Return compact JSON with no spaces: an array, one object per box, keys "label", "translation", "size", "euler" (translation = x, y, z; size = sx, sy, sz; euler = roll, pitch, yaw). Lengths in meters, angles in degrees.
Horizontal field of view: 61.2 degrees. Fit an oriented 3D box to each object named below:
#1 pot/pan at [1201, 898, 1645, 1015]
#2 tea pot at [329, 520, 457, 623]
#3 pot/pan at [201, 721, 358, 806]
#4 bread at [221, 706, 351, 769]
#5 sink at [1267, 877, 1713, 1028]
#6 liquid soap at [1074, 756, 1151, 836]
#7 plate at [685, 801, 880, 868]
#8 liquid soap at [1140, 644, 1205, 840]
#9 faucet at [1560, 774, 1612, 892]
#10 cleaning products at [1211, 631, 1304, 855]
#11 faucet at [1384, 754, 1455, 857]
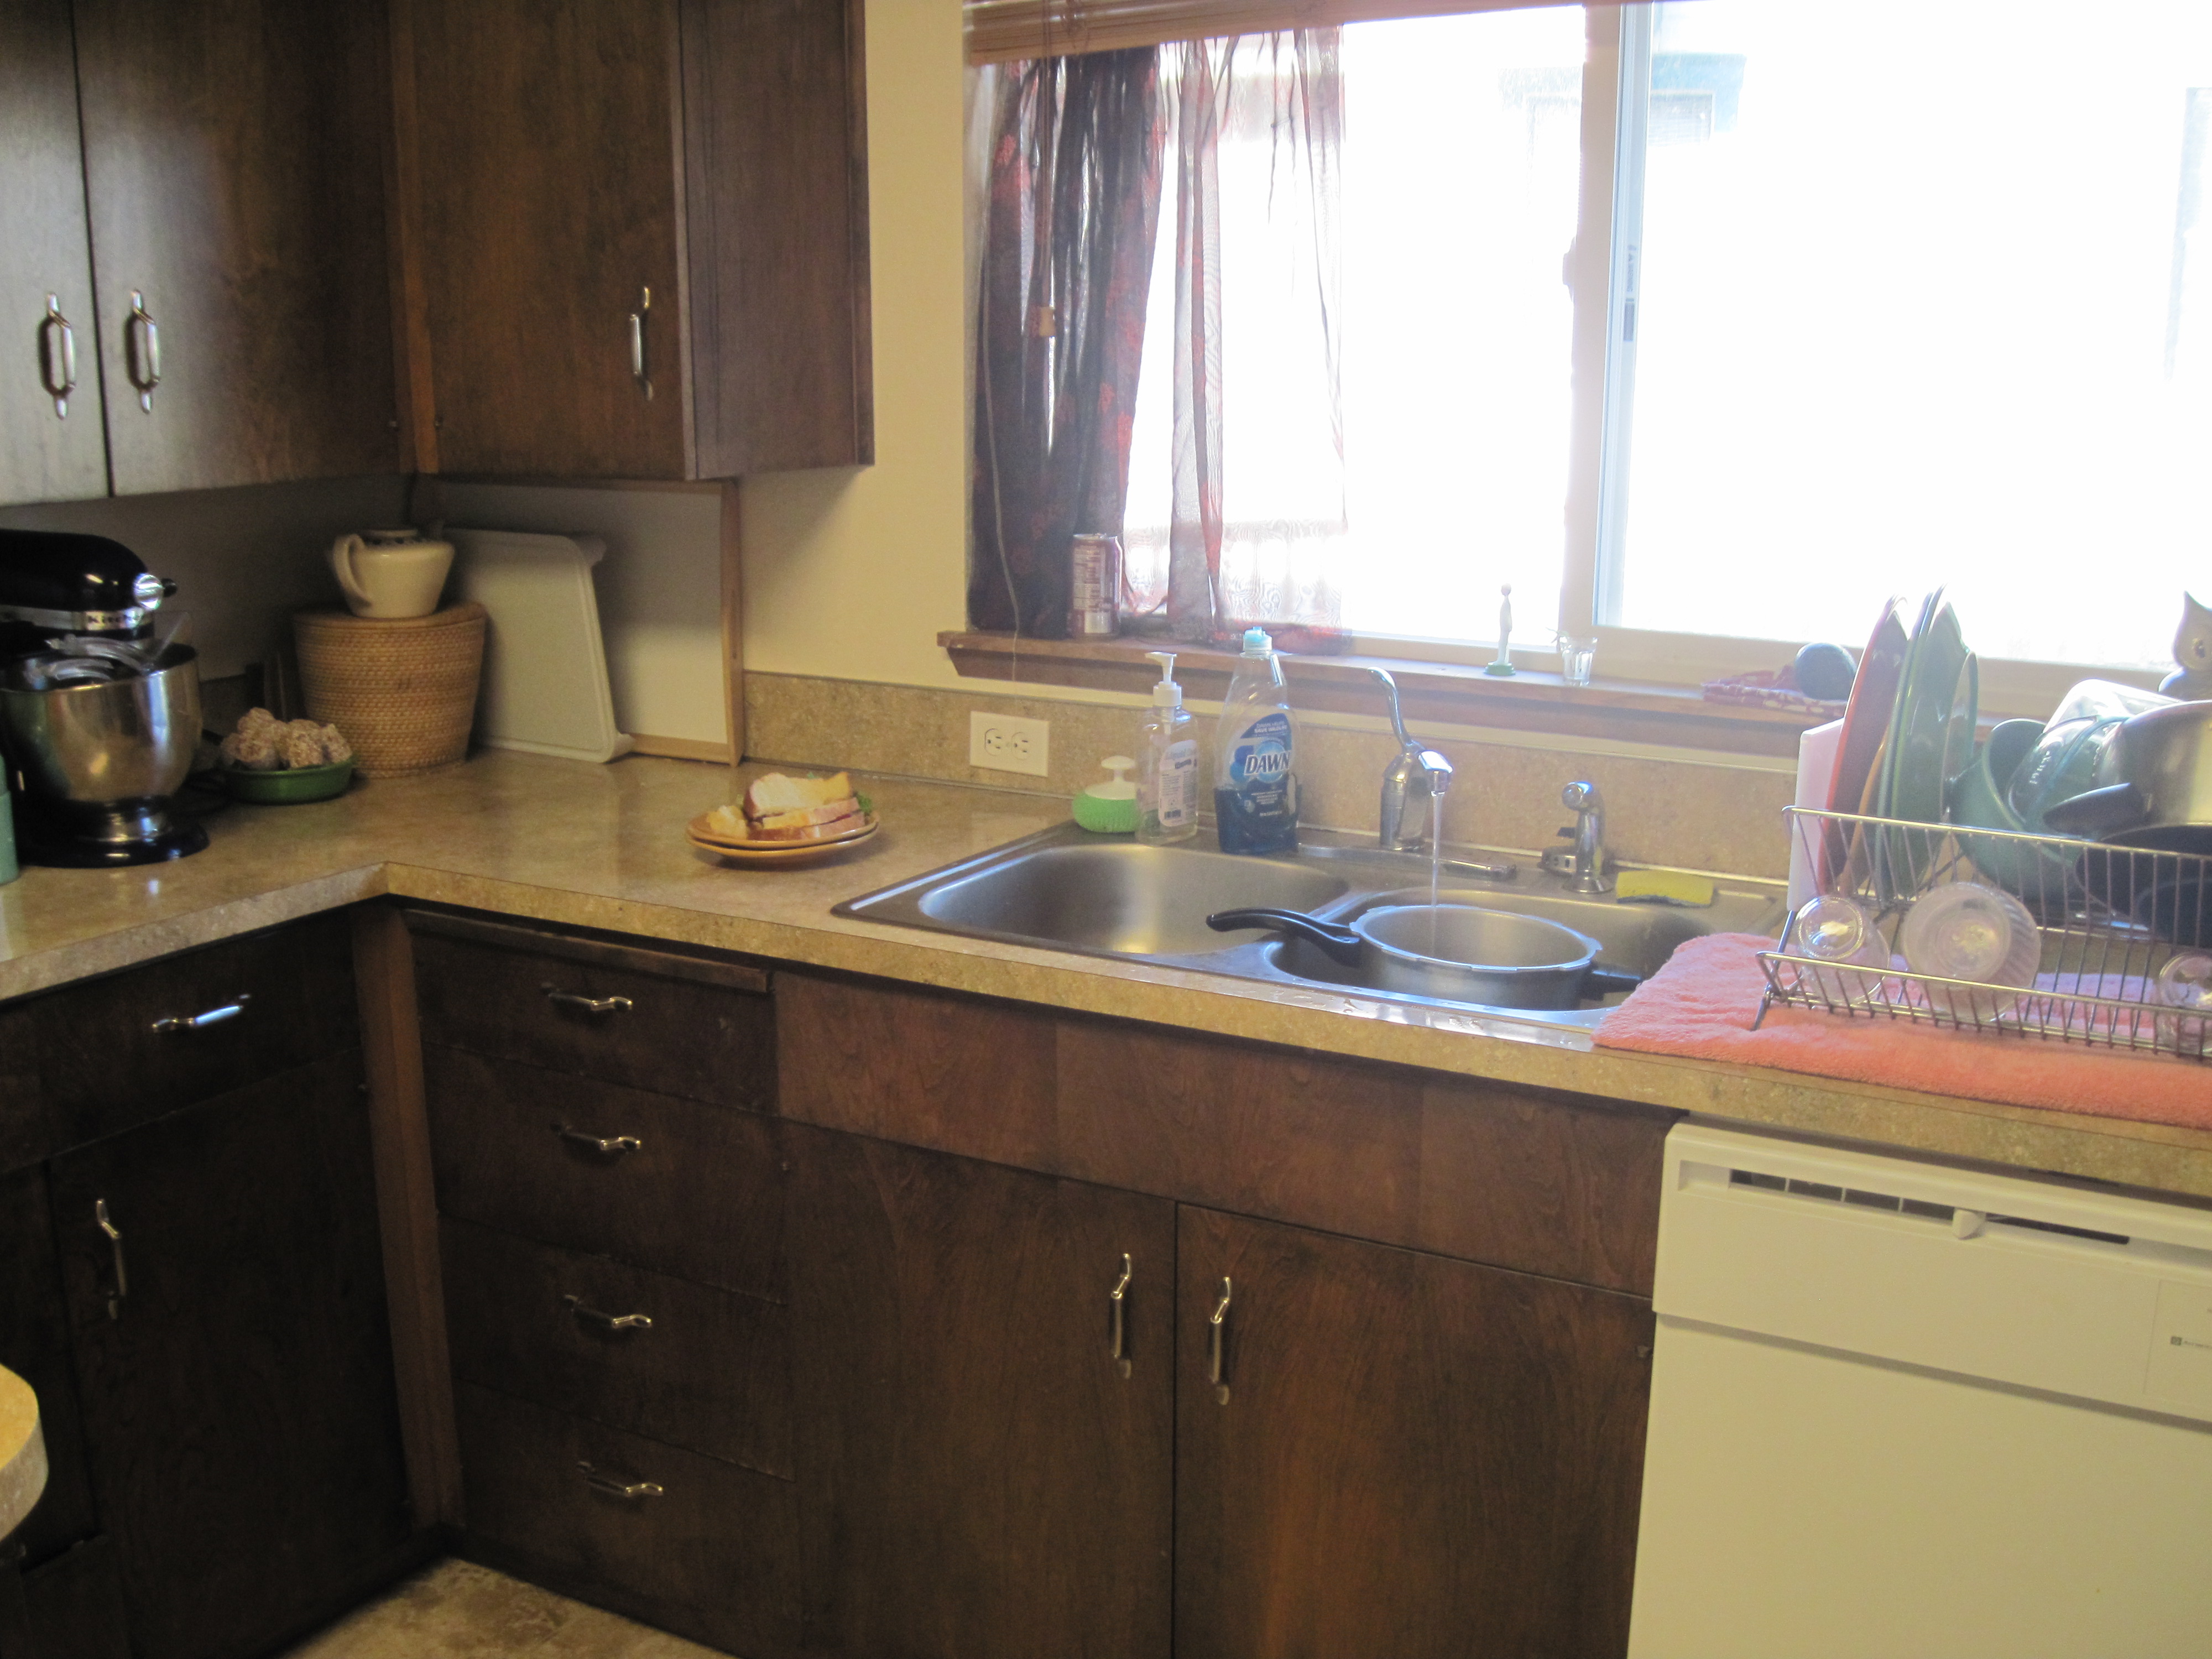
[{"label":"pot/pan","translation":[0.443,0.149,2.405],"size":[0.321,0.061,0.225],"euler":[6,17,18]},{"label":"tea pot","translation":[-1.154,-0.431,3.046],"size":[0.145,0.118,0.173],"euler":[9,17,30]},{"label":"pot/pan","translation":[-1.277,-0.109,2.890],"size":[0.218,0.118,0.156],"euler":[-7,16,-26]},{"label":"bread","translation":[-1.268,-0.126,2.861],"size":[0.139,0.058,0.102],"euler":[5,3,-44]},{"label":"sink","translation":[0.470,0.148,2.403],"size":[0.303,0.107,0.245],"euler":[10,21,35]},{"label":"liquid soap","translation":[0.000,-0.061,2.753],"size":[0.108,0.084,0.109],"euler":[11,15,42]},{"label":"plate","translation":[-0.448,0.002,2.589],"size":[0.256,0.076,0.142],"euler":[-2,15,-9]},{"label":"liquid soap","translation":[0.097,-0.131,2.733],"size":[0.083,0.254,0.156],"euler":[0,14,2]},{"label":"faucet","translation":[0.648,-0.002,2.520],"size":[0.066,0.146,0.114],"euler":[4,15,15]},{"label":"cleaning products","translation":[0.210,-0.122,2.623],"size":[0.110,0.308,0.061],"euler":[-1,14,-4]},{"label":"faucet","translation":[0.423,-0.032,2.564],"size":[0.096,0.158,0.177],"euler":[2,15,9]}]
